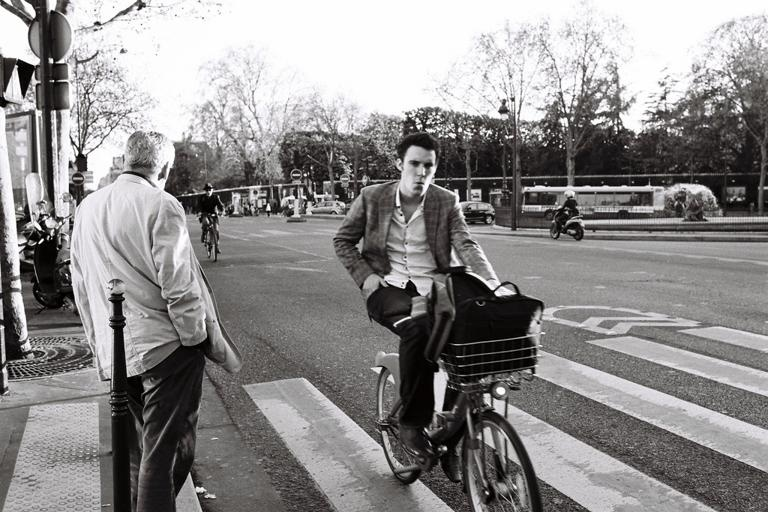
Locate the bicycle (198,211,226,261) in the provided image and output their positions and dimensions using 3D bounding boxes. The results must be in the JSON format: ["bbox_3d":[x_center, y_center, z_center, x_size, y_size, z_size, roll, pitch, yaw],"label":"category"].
[{"bbox_3d":[-4.715,-0.505,18.043,0.686,0.933,1.445,-2,5,-19],"label":"bicycle"}]

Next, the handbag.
[{"bbox_3d":[0.667,0.417,4.211,0.504,0.565,0.554,-1,7,-13],"label":"handbag"}]

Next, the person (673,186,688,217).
[{"bbox_3d":[17.509,-3.083,39.198,0.676,1.446,3.484,3,11,24],"label":"person"}]

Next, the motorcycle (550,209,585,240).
[{"bbox_3d":[7.175,-1.221,25.510,0.757,1.148,1.585,-3,8,-23],"label":"motorcycle"}]

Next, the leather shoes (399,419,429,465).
[{"bbox_3d":[0.213,1.273,4.655,0.095,0.192,0.300,-19,42,-13],"label":"leather shoes"}]

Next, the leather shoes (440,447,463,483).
[{"bbox_3d":[0.468,1.416,4.606,0.132,0.247,0.156,-8,6,43],"label":"leather shoes"}]
